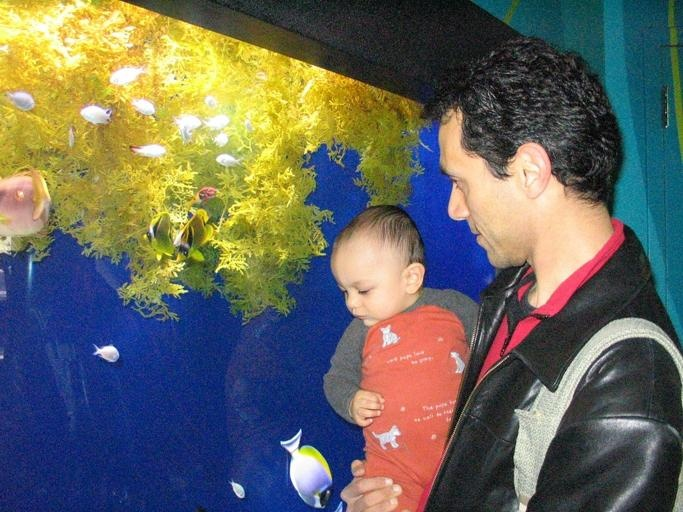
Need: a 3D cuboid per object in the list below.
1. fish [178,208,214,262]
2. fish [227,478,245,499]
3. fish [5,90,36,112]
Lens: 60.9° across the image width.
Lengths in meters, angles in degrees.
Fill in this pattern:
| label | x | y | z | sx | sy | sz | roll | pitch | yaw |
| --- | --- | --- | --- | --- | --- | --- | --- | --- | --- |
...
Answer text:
| label | x | y | z | sx | sy | sz | roll | pitch | yaw |
| --- | --- | --- | --- | --- | --- | --- | --- | --- | --- |
| fish | -0.557 | -0.087 | 2.207 | 0.038 | 0.174 | 0.131 | 6 | -7 | 42 |
| fish | -0.418 | 0.944 | 2.342 | 0.015 | 0.047 | 0.086 | -1 | -51 | 42 |
| fish | -1.057 | -0.520 | 1.929 | 0.088 | 0.038 | 0.050 | 24 | -50 | 3 |
